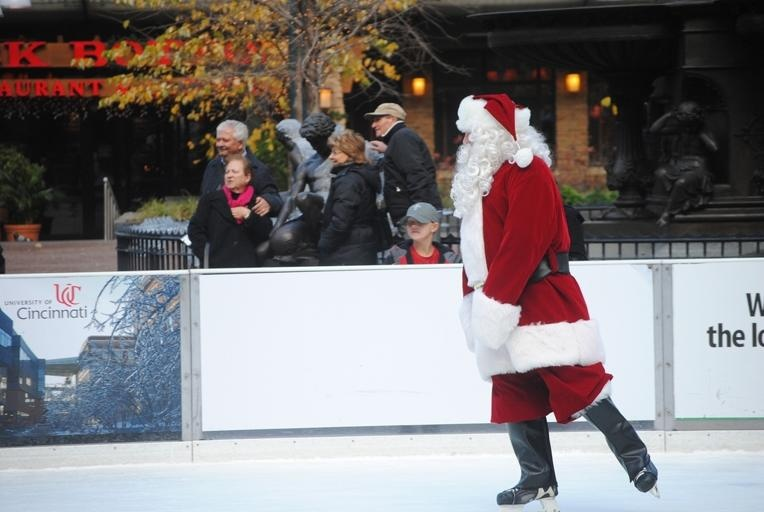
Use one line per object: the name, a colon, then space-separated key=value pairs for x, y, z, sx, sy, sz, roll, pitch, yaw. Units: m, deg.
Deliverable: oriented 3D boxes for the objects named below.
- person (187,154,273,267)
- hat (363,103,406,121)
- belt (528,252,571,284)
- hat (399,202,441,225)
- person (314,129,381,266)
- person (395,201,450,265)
person: x=-1.781 y=-0.504 z=19.164 sx=0.982 sy=1.179 sz=0.356 roll=-3 pitch=-1 yaw=-4
hat: x=0.081 y=-1.779 z=19.980 sx=0.392 sy=0.142 sz=0.253 roll=1 pitch=0 yaw=2
belt: x=1.709 y=0.143 z=16.856 sx=0.384 sy=0.198 sz=0.283 roll=-18 pitch=-3 yaw=-15
hat: x=0.483 y=-0.479 z=18.662 sx=0.375 sy=0.229 sz=0.362 roll=-3 pitch=0 yaw=0
person: x=-0.380 y=-0.685 z=19.277 sx=0.766 sy=1.475 sz=0.410 roll=-3 pitch=-1 yaw=-3
person: x=0.496 y=-0.244 z=18.684 sx=0.686 sy=0.862 sz=0.669 roll=-2 pitch=-10 yaw=15
